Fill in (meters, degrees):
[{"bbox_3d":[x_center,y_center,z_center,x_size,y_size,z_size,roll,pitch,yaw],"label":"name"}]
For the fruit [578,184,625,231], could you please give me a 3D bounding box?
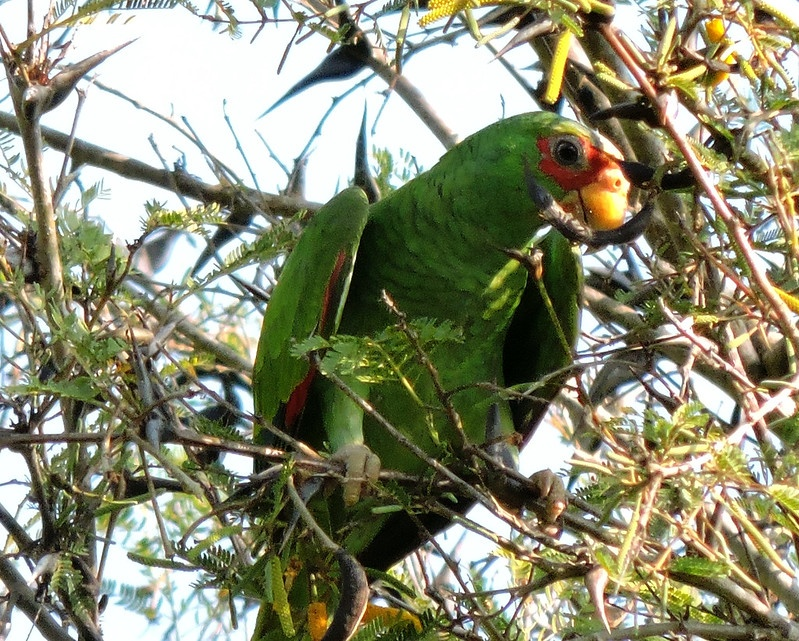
[{"bbox_3d":[0.458,-0.253,3.065,0.098,0.091,0.108,-1,-85,-14],"label":"fruit"}]
